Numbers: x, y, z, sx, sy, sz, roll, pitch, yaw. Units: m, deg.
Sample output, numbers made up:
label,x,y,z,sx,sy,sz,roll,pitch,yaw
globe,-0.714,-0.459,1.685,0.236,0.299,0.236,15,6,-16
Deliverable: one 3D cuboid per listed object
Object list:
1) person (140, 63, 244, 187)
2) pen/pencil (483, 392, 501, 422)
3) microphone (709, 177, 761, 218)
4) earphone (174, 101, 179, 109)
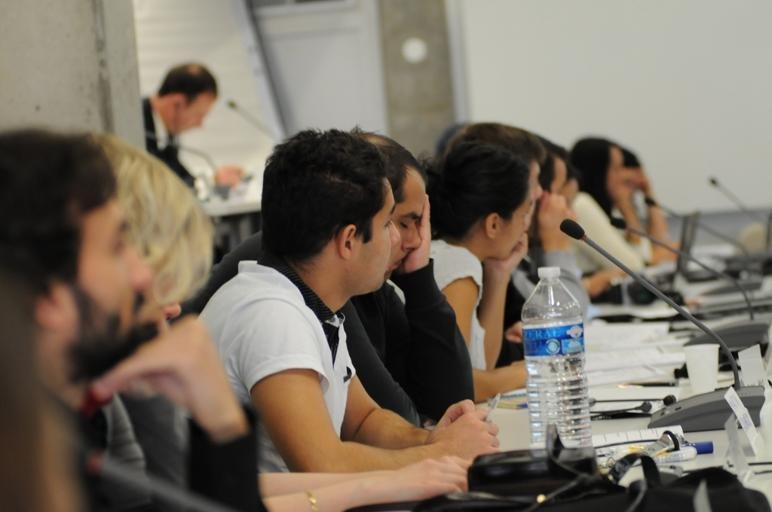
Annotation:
label,x,y,z,sx,sy,sz,roll,pitch,yaw
person,-0.853,-0.613,3.458,0.434,0.520,0.941,10,15,-18
pen/pencil,0.216,0.314,1.612,0.009,0.058,0.021,20,0,-24
microphone,1.119,-0.194,2.499,0.157,0.043,0.038,39,35,0
earphone,-0.873,-0.634,3.259,0.023,0.025,0.008,-6,9,-21
